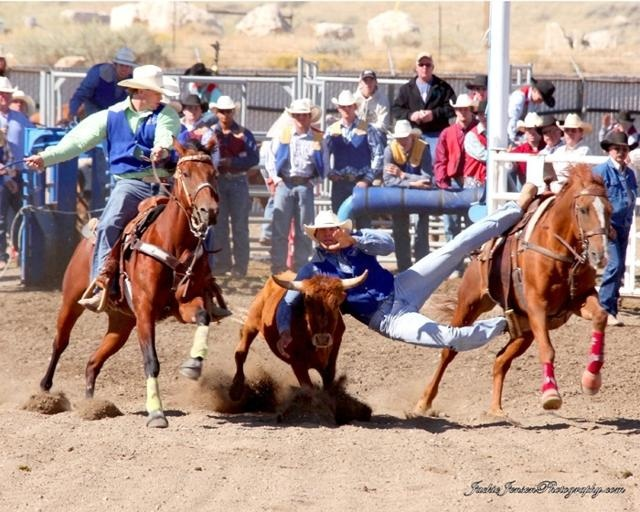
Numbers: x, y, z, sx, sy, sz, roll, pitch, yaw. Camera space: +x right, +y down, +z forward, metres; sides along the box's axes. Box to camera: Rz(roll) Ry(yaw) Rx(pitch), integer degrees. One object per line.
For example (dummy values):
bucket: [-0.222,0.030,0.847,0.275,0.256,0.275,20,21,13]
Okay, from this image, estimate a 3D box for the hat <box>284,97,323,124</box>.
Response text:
hat: [-0.220,-2.024,15.196,0.460,0.343,0.811,1,10,-1]

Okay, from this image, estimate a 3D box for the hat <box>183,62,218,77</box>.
hat: [-1.756,-2.799,16.390,0.453,0.124,0.469,1,5,15]

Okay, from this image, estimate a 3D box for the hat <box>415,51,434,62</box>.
hat: [1.521,-2.864,15.719,0.188,0.137,0.285,2,10,8]

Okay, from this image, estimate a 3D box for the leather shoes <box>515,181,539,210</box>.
leather shoes: [2.180,-0.630,11.451,0.165,0.143,0.295,3,49,39]

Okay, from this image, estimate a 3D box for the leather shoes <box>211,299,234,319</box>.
leather shoes: [-1.017,0.562,11.320,0.175,0.140,0.242,-2,0,-3]

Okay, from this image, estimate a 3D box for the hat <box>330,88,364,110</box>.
hat: [0.384,-2.247,15.303,0.331,0.169,0.400,-1,-8,1]

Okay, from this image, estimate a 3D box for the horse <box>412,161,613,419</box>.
horse: [2.172,0.526,11.636,0.815,2.349,3.667,6,-11,-15]

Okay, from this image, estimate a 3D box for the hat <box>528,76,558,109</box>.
hat: [3.064,-2.378,15.214,0.409,0.183,0.477,33,18,-41]

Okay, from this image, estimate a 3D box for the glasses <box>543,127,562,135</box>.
glasses: [3.013,-1.628,14.070,0.250,0.138,0.194,2,10,3]

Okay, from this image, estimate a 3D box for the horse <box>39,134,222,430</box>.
horse: [-1.953,0.215,11.455,1.777,2.922,3.038,-4,12,-27]

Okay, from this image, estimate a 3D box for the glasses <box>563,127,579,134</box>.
glasses: [3.166,-1.556,13.539,0.230,0.075,0.167,2,10,4]

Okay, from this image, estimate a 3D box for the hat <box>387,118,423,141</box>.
hat: [1.249,-1.798,15.538,0.401,0.230,0.520,-5,-3,9]

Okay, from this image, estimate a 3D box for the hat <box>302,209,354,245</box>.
hat: [0.102,-0.324,12.081,0.379,0.171,0.442,-3,-32,-2]

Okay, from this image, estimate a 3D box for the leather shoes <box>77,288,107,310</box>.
leather shoes: [-2.264,0.450,11.095,0.297,0.218,0.134,5,51,30]
